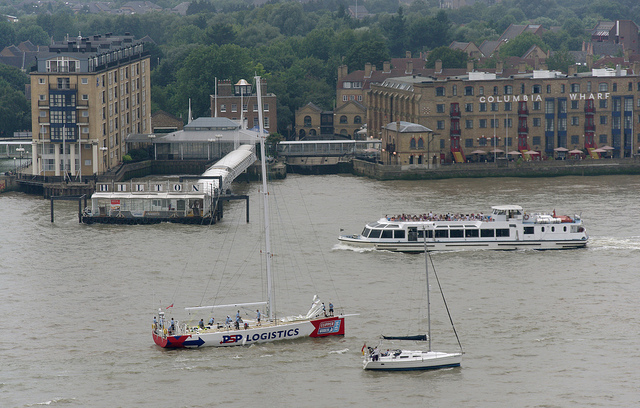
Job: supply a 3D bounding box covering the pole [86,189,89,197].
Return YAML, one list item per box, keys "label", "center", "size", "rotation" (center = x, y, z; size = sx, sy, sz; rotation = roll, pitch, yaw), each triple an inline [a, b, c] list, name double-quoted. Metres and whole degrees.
- label: "pole"
  center: [-33.491, -1.545, 254.544]
  size: [0.370, 0.989, 0.474]
  rotation: [-2, 3, -11]

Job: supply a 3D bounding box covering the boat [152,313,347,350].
- label: "boat"
  center: [-6.814, 14.897, 207.085]
  size: [22.640, 3.898, 4.512]
  rotation: [-4, 0, -19]

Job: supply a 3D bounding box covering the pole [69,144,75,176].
- label: "pole"
  center: [-36.609, -6.517, 260.800]
  size: [0.755, 4.432, 0.384]
  rotation: [-2, 3, -12]

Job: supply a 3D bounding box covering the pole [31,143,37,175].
- label: "pole"
  center: [-42.258, -6.606, 260.825]
  size: [0.765, 4.617, 0.783]
  rotation: [-1, 3, 10]

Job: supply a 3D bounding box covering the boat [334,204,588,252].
- label: "boat"
  center: [20.331, 3.397, 230.770]
  size: [33.947, 5.967, 7.526]
  rotation: [-1, -3, 9]

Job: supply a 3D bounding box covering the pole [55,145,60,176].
- label: "pole"
  center: [-38.788, -6.372, 260.470]
  size: [0.746, 4.516, 0.415]
  rotation: [-2, 3, -19]

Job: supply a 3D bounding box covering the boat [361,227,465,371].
- label: "boat"
  center: [11.495, 11.196, 202.770]
  size: [12.287, 15.573, 3.758]
  rotation: [0, 5, 10]

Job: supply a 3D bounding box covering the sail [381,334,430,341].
- label: "sail"
  center: [10.467, 15.490, 204.233]
  size: [4.998, 0.759, 0.945]
  rotation: [-1, -4, 2]
